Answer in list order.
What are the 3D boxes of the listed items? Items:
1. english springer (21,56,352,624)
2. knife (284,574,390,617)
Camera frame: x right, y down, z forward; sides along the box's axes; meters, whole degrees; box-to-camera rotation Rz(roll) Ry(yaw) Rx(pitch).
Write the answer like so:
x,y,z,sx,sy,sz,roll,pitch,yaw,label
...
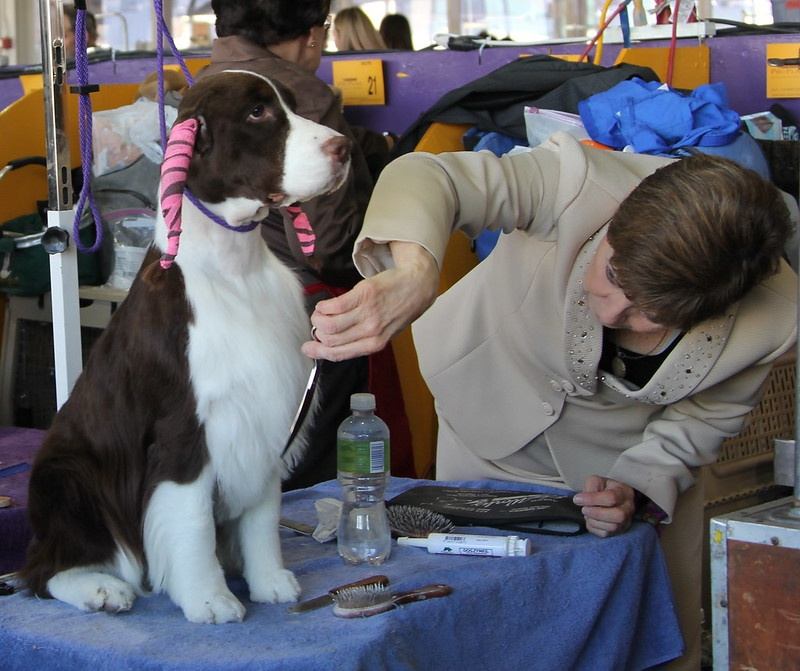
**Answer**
x,y,z,sx,sy,sz,roll,pitch,yaw,label
-0.346,0.007,1.169,0.567,0.804,0.249,-3,8,-3,english springer
-0.093,0.382,1.164,0.151,0.030,0.064,-3,7,-6,knife
